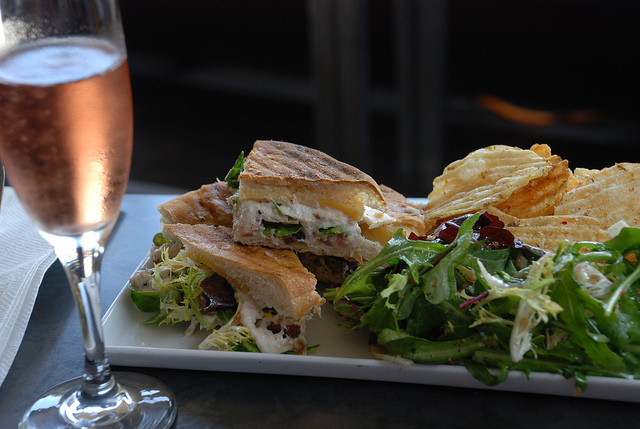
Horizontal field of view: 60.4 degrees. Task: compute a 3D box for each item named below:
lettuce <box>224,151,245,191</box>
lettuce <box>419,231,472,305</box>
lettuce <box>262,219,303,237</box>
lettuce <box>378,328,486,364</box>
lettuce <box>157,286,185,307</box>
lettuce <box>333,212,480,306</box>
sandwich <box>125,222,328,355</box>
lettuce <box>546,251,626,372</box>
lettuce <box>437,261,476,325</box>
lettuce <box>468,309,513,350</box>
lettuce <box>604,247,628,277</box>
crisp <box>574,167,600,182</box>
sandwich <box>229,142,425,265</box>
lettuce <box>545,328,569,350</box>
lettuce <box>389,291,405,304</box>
[{"bbox_3d":[-0.346,-0.195,2.241,0.066,0.151,0.164,3,-5,-4],"label":"lettuce"},{"bbox_3d":[0.389,0.147,1.616,0.100,0.045,0.249,25,59,34],"label":"lettuce"},{"bbox_3d":[-0.132,0.038,1.991,0.082,0.026,0.081,9,10,31],"label":"lettuce"},{"bbox_3d":[0.320,0.388,1.601,0.311,0.078,0.107,1,52,12],"label":"lettuce"},{"bbox_3d":[-0.502,0.278,1.856,0.073,0.022,0.076,46,49,7],"label":"lettuce"},{"bbox_3d":[0.254,0.127,1.669,0.433,0.272,0.280,-3,5,16],"label":"lettuce"},{"bbox_3d":[-0.322,0.269,1.813,0.536,0.173,0.491,6,22,-19],"label":"sandwich"},{"bbox_3d":[0.753,0.274,1.518,0.186,0.314,0.189,-12,30,-18],"label":"lettuce"},{"bbox_3d":[0.393,0.221,1.605,0.144,0.162,0.104,-2,11,10],"label":"lettuce"},{"bbox_3d":[0.508,0.324,1.571,0.140,0.052,0.082,17,45,25],"label":"lettuce"},{"bbox_3d":[0.824,0.133,1.535,0.053,0.072,0.042,-19,-23,40],"label":"lettuce"},{"bbox_3d":[1.117,-0.176,2.328,0.089,0.022,0.078,-9,29,-4],"label":"crisp"},{"bbox_3d":[-0.003,0.040,2.110,0.618,0.188,0.485,13,25,-14],"label":"sandwich"},{"bbox_3d":[0.684,0.362,1.597,0.066,0.060,0.023,5,-16,23],"label":"lettuce"},{"bbox_3d":[0.230,0.244,1.629,0.056,0.020,0.090,2,2,9],"label":"lettuce"}]
